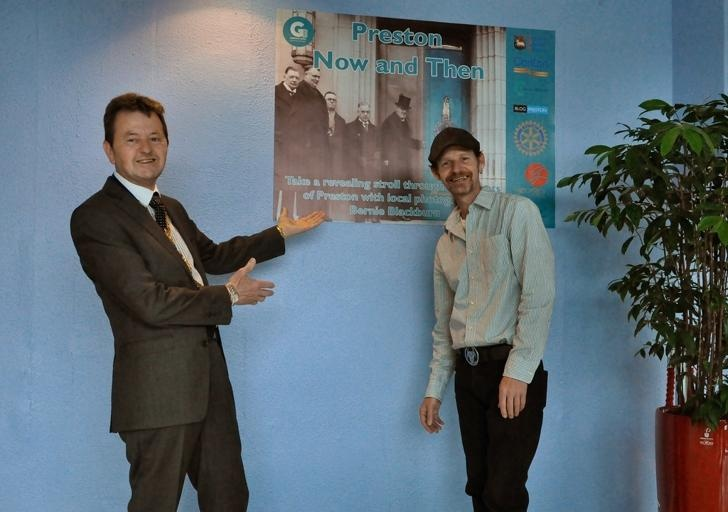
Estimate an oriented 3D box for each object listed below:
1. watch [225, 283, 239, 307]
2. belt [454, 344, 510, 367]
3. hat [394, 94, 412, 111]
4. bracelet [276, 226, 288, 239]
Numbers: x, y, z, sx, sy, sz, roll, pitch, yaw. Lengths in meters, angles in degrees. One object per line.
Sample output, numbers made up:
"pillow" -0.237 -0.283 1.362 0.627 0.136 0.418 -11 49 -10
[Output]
"watch" -0.693 0.208 3.903 0.034 0.090 0.092 -13 37 11
"belt" 0.630 0.538 4.012 0.327 0.097 0.072 -3 -2 38
"hat" 0.249 -0.980 4.795 0.095 0.060 0.093 25 -6 -41
"bracelet" -0.494 -0.140 4.445 0.065 0.053 0.068 -7 -9 13
